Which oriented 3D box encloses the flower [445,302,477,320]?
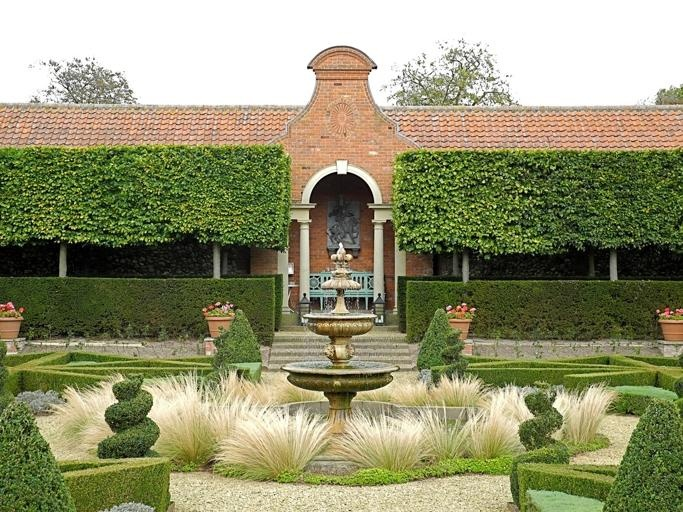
[{"bbox_3d":[3.121,1.447,19.810,0.692,0.451,1.092,0,-5,10],"label":"flower"}]

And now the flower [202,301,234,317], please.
[{"bbox_3d":[-3.208,1.426,19.948,0.545,0.256,0.550,1,-1,-18],"label":"flower"}]

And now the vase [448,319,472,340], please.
[{"bbox_3d":[3.119,1.892,19.578,0.424,0.545,0.939,-2,-6,33],"label":"vase"}]

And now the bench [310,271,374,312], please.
[{"bbox_3d":[-0.038,0.963,20.632,1.266,0.799,0.433,0,4,1],"label":"bench"}]

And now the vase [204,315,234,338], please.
[{"bbox_3d":[-3.218,1.835,19.735,0.888,0.588,0.397,-3,-6,38],"label":"vase"}]

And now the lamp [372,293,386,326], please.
[{"bbox_3d":[1.148,1.629,23.149,0.349,1.008,0.761,0,-4,4],"label":"lamp"}]
